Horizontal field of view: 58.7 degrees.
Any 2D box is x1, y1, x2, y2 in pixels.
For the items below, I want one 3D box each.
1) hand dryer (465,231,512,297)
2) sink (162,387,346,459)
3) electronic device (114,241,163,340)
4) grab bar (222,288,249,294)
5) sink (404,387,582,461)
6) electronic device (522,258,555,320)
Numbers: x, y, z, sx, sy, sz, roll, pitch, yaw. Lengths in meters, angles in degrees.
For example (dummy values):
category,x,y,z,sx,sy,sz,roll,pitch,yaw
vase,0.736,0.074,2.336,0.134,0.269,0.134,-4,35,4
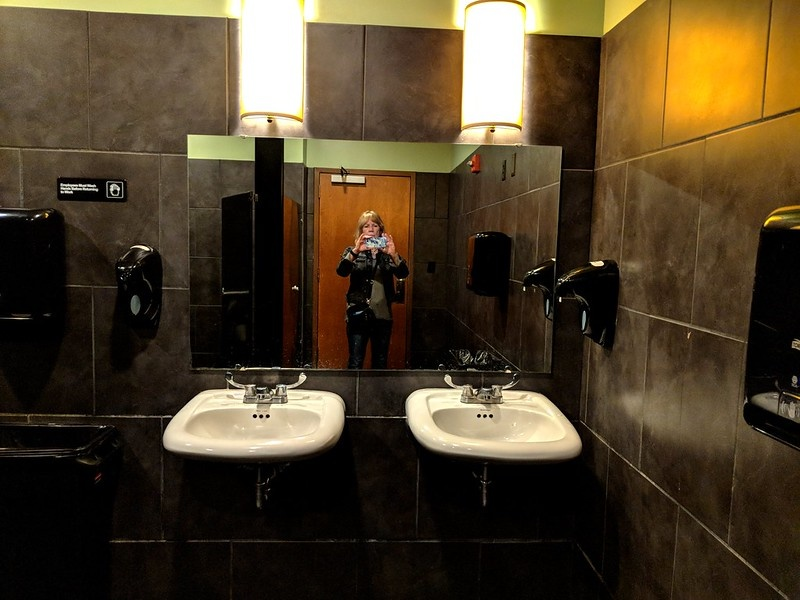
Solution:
category,x,y,z,sx,sy,sz,roll,pitch,yaw
hand dryer,0.352,-0.154,2.869,0.155,0.270,0.162,-2,11,-23
sink,-0.514,0.464,2.603,0.612,0.149,0.443,0,11,-3
electronic device,-0.987,-0.027,2.713,0.174,0.356,0.156,-4,12,-22
grab bar,-0.638,-0.033,2.763,0.104,0.035,0.032,-1,2,-19
sink,0.323,0.468,2.629,0.590,0.150,0.470,0,11,-4
electronic device,0.558,-0.036,2.801,0.150,0.236,0.061,8,-12,32
